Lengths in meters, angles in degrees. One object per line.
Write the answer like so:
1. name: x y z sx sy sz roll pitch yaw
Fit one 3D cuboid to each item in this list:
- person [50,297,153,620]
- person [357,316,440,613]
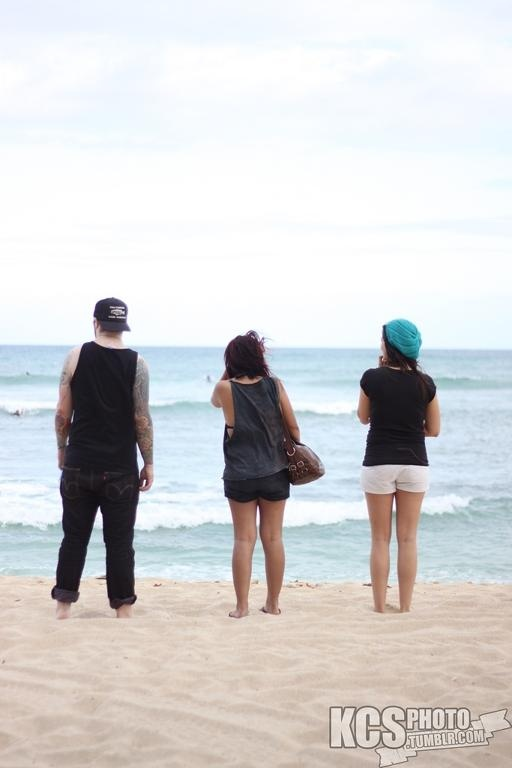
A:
1. person: -0.906 0.447 7.934 0.598 1.391 0.439 5 2 -5
2. person: 0.858 0.513 8.296 0.506 1.512 0.321 5 2 7
